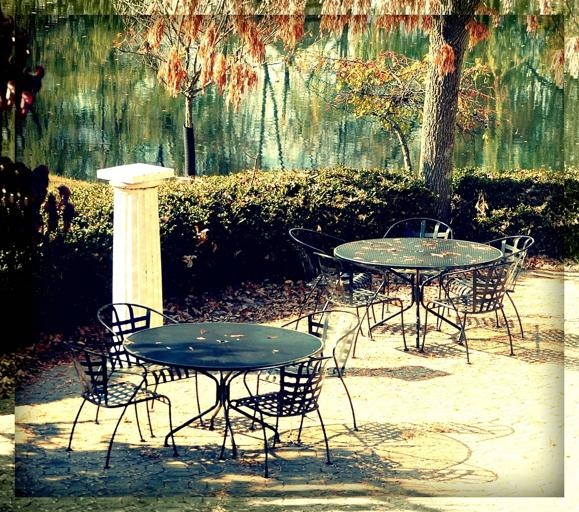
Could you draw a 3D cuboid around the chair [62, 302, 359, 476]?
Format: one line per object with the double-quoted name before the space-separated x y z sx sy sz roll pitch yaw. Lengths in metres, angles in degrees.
"chair" -0.592 0.970 9.269 2.156 1.173 1.684 1 2 19
